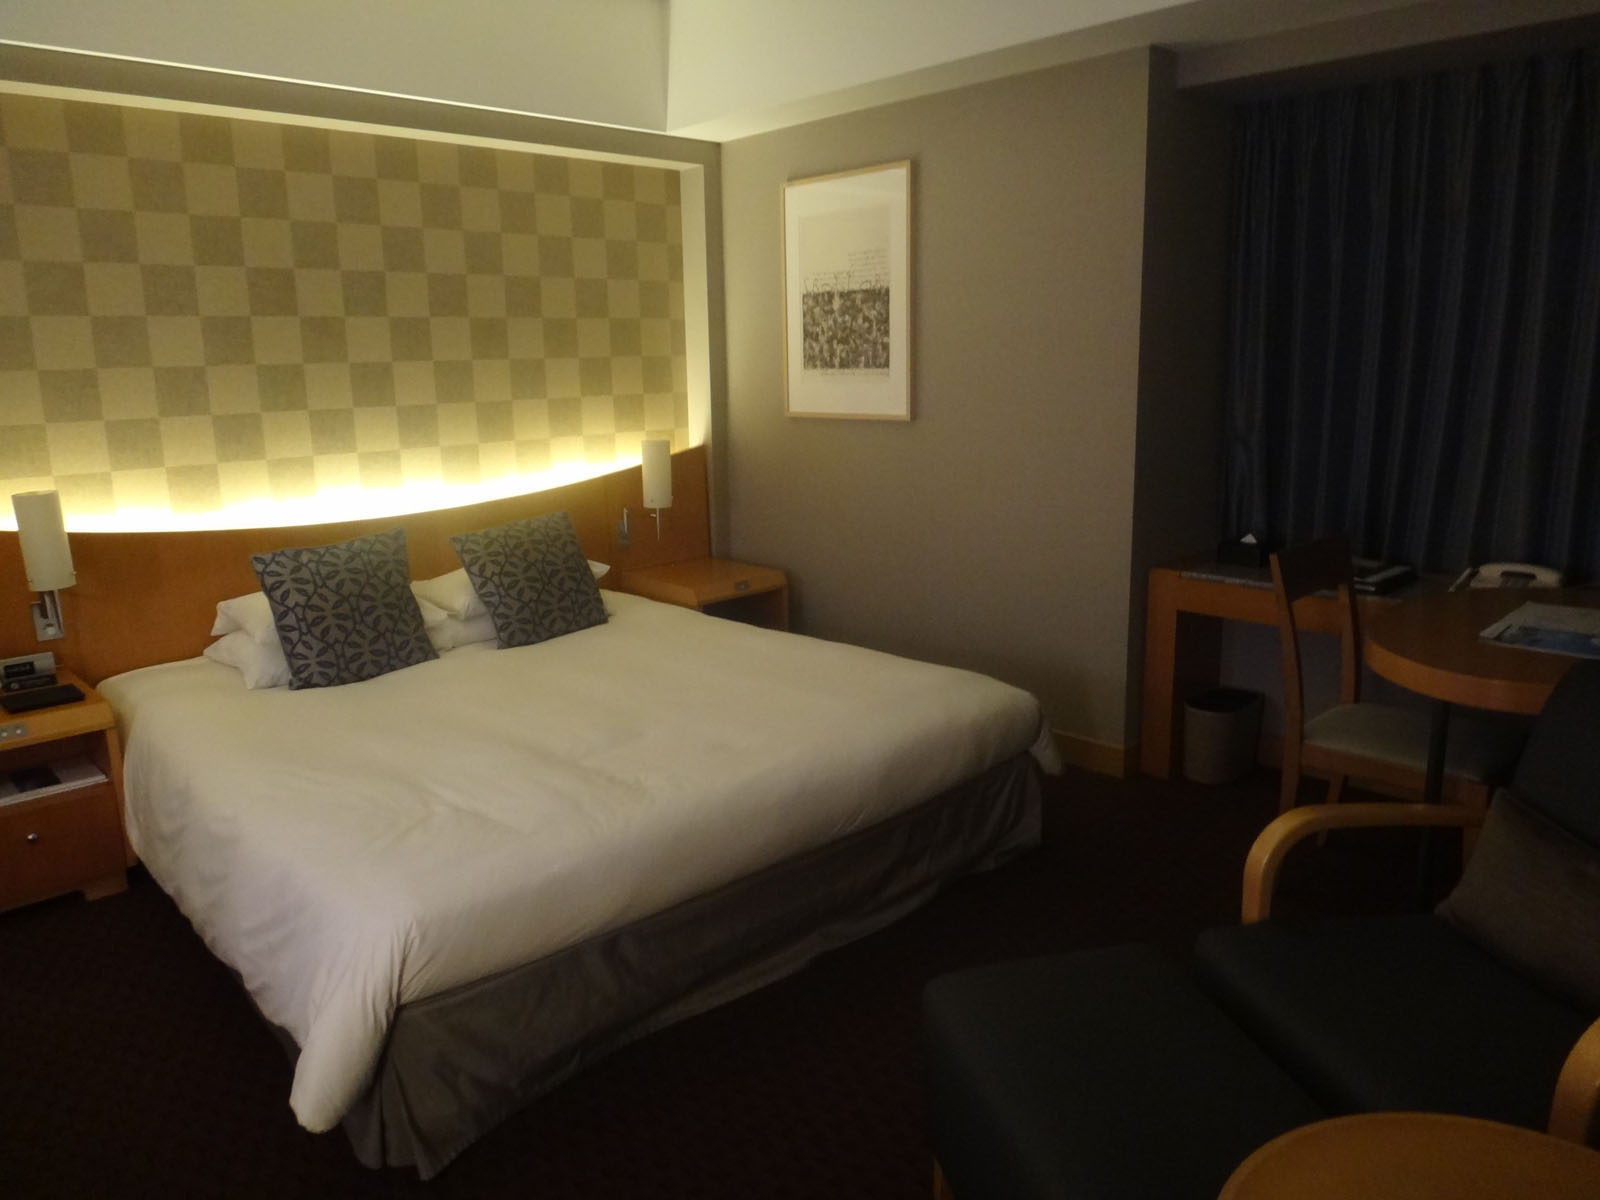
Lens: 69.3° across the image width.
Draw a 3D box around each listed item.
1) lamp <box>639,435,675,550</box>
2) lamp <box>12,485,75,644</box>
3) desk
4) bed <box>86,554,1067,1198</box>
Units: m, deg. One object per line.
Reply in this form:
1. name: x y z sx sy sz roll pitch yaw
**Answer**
1. lamp: -0.771 -0.599 6.355 0.191 0.580 0.311 -7 17 -6
2. lamp: -2.977 -0.126 4.588 0.197 0.625 0.272 -16 20 -33
3. desk: 2.028 0.302 5.138 0.870 0.849 0.624 9 11 34
4. bed: -0.803 0.786 4.258 3.120 0.908 2.025 -13 18 -22
